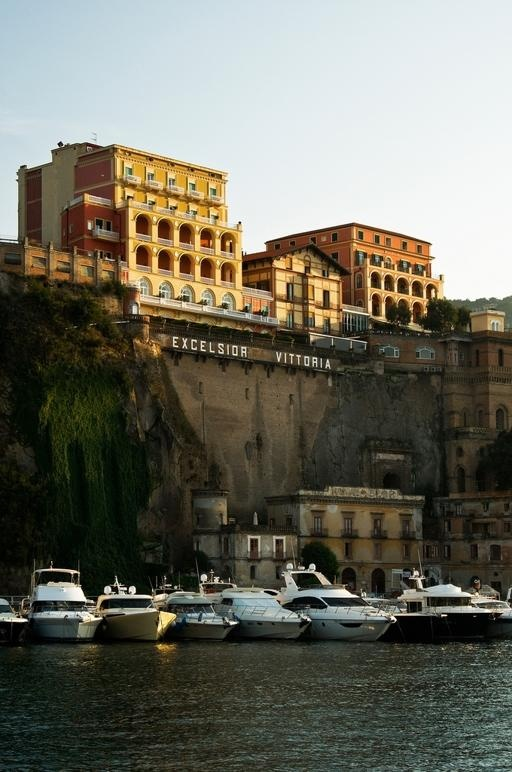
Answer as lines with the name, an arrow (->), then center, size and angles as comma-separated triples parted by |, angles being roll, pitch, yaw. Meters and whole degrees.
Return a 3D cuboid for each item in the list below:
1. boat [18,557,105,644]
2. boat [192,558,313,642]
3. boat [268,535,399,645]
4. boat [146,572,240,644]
boat -> -9.043, 9.963, 67.427 | 2.044, 2.820, 5.789 | 2, -17, -14
boat -> -0.499, 10.114, 69.947 | 2.007, 2.857, 7.052 | 1, -2, -31
boat -> 3.087, 10.050, 69.887 | 2.216, 3.238, 6.980 | 1, -7, -31
boat -> -3.539, 10.284, 69.556 | 2.140, 2.484, 7.778 | 4, -6, -33
